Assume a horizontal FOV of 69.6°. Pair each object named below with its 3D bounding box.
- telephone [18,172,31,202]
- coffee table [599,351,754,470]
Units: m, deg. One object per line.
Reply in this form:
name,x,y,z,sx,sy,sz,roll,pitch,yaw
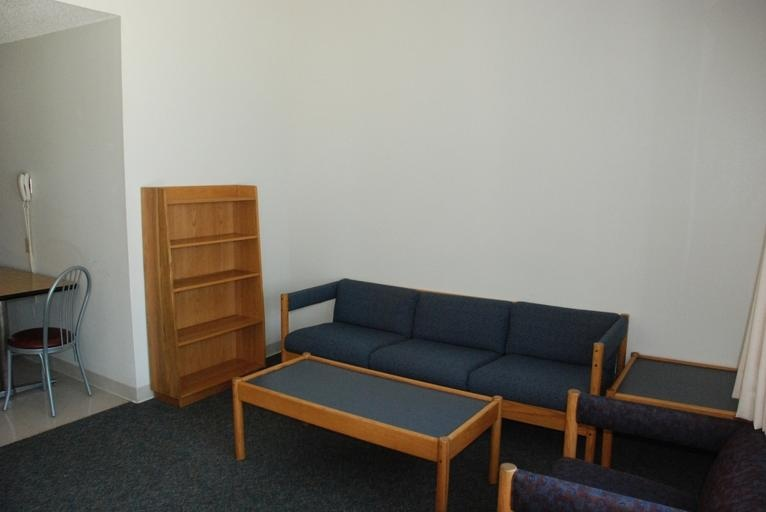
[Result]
telephone,-3.527,-0.677,5.394,0.159,0.282,0.037,7,15,19
coffee table,2.347,1.010,4.402,0.947,0.711,0.915,3,6,30
